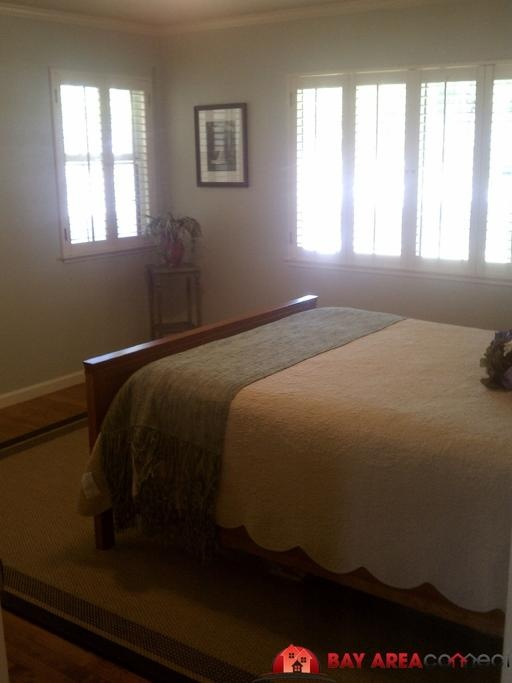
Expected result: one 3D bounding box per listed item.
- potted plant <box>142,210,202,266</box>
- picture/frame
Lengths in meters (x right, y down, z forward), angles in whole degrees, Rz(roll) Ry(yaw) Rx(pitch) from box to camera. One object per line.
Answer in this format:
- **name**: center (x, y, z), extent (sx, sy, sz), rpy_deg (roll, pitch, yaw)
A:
- **potted plant**: center (-0.596, -0.750, 4.047), extent (0.407, 0.431, 0.390), rpy_deg (-13, 25, -35)
- **picture/frame**: center (-0.256, -1.425, 3.897), extent (0.413, 0.582, 0.014), rpy_deg (3, 13, 14)
